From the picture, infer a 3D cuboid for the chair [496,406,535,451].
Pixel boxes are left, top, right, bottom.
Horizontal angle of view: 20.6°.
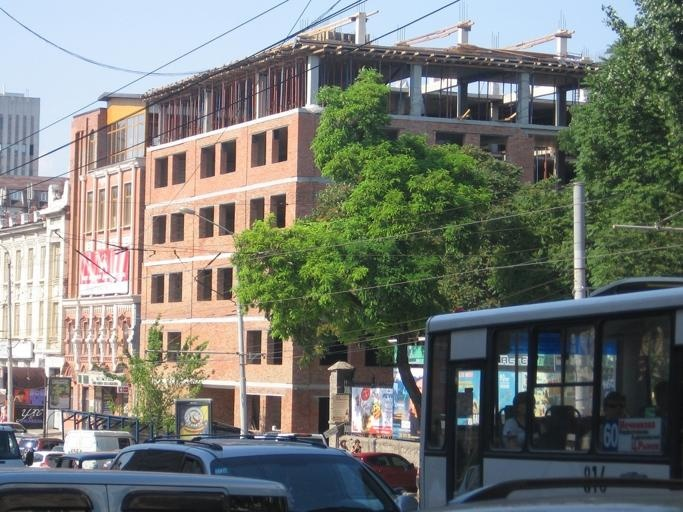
[{"bbox_3d":[6.344,6.189,67.834,1.556,2.243,1.296,1,-5,7],"label":"chair"}]
